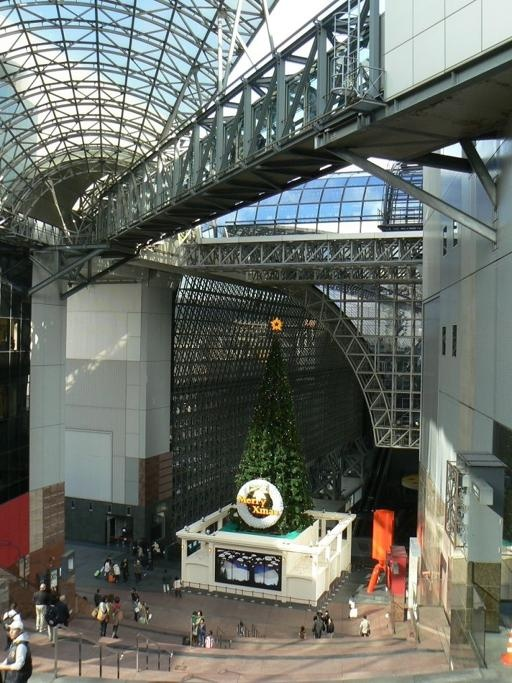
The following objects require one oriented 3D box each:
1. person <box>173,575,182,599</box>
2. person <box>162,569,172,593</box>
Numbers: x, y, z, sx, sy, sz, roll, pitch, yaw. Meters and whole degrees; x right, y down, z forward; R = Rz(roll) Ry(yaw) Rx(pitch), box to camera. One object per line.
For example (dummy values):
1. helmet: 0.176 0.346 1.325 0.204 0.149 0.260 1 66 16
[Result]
1. person: -3.343 10.357 27.176 0.344 0.743 0.783 0 -7 -8
2. person: -3.885 10.466 27.878 0.322 0.789 0.961 0 -7 -7
